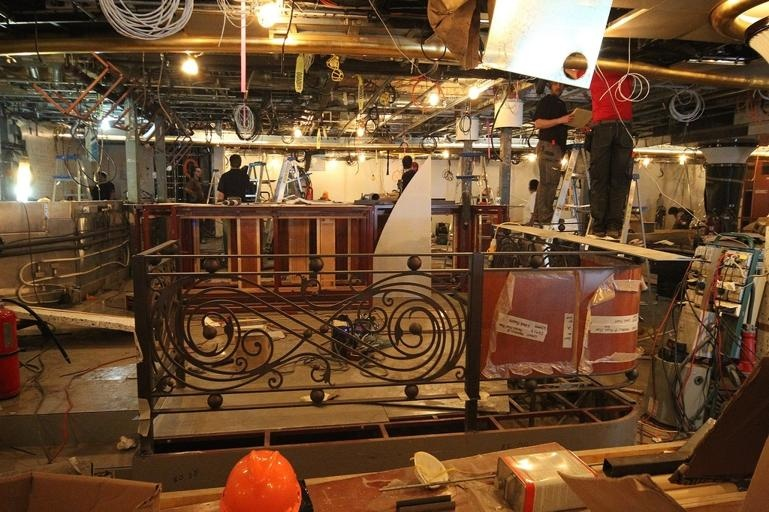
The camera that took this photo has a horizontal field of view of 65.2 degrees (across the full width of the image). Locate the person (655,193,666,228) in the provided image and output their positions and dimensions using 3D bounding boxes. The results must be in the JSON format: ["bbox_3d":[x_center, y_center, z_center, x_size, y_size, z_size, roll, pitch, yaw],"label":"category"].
[{"bbox_3d":[9.668,-1.600,21.111,0.318,1.098,1.785,4,10,24],"label":"person"}]

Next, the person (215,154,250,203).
[{"bbox_3d":[-2.782,-1.437,11.033,0.572,0.834,0.492,-2,10,-14],"label":"person"}]

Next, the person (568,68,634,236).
[{"bbox_3d":[2.799,-1.258,7.582,0.557,2.052,0.455,6,11,32],"label":"person"}]
